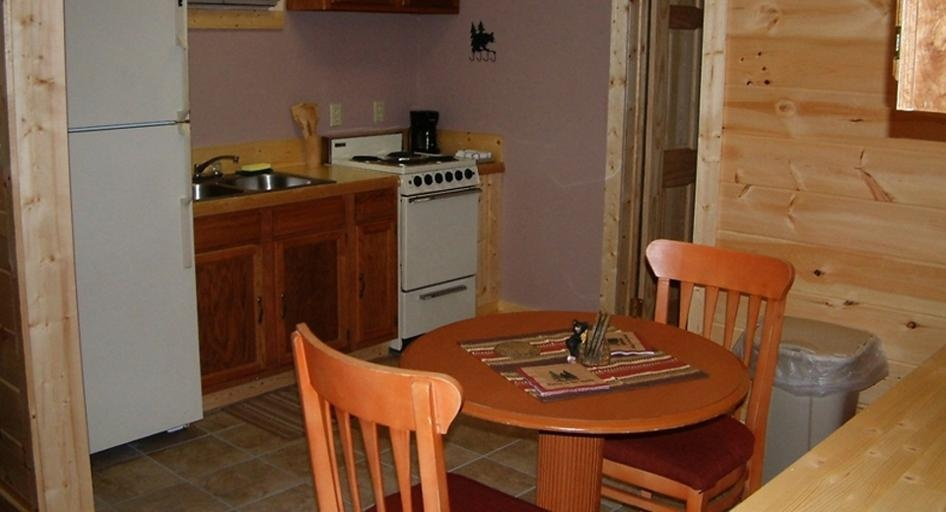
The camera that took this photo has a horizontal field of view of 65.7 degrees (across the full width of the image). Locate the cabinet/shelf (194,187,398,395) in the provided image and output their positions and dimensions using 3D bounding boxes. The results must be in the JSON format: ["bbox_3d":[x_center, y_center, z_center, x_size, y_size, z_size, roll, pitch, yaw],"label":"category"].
[{"bbox_3d":[-1.137,0.172,4.472,0.553,0.933,1.428,9,14,44],"label":"cabinet/shelf"}]

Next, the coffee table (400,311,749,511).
[{"bbox_3d":[0.417,0.546,3.029,1.115,0.588,1.061,8,21,25],"label":"coffee table"}]

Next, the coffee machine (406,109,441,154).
[{"bbox_3d":[-0.406,-1.005,5.970,0.268,0.331,0.196,2,20,12],"label":"coffee machine"}]

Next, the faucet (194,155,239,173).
[{"bbox_3d":[-1.739,-0.627,4.958,0.206,0.052,0.180,-5,14,-9],"label":"faucet"}]
